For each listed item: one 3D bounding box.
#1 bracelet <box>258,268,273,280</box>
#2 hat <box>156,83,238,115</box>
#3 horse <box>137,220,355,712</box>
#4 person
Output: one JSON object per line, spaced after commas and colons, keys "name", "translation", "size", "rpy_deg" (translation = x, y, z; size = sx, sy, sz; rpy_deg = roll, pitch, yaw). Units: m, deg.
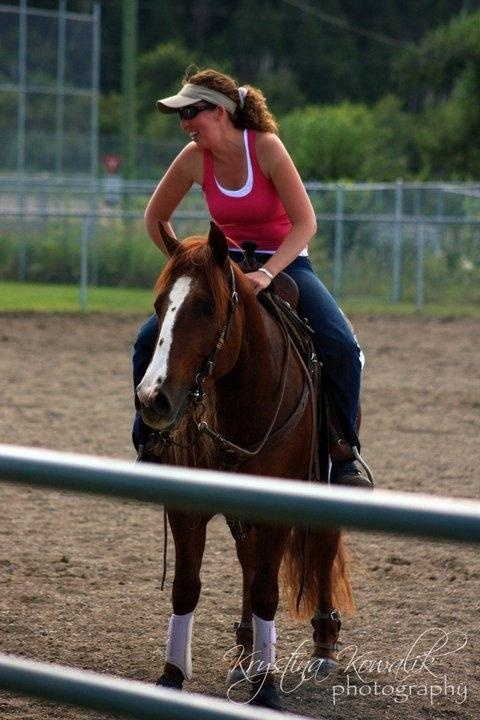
{"name": "bracelet", "translation": [0.100, -0.293, 4.277], "size": [0.012, 0.040, 0.042], "rpy_deg": [-41, 16, -4]}
{"name": "hat", "translation": [-0.136, -0.922, 4.400], "size": [0.221, 0.077, 0.128], "rpy_deg": [4, -3, -15]}
{"name": "horse", "translation": [0.008, 0.376, 4.239], "size": [0.522, 1.654, 1.330], "rpy_deg": [9, 7, 23]}
{"name": "person", "translation": [0.040, -0.328, 4.677], "size": [0.918, 1.505, 0.789], "rpy_deg": [0, 11, 12]}
